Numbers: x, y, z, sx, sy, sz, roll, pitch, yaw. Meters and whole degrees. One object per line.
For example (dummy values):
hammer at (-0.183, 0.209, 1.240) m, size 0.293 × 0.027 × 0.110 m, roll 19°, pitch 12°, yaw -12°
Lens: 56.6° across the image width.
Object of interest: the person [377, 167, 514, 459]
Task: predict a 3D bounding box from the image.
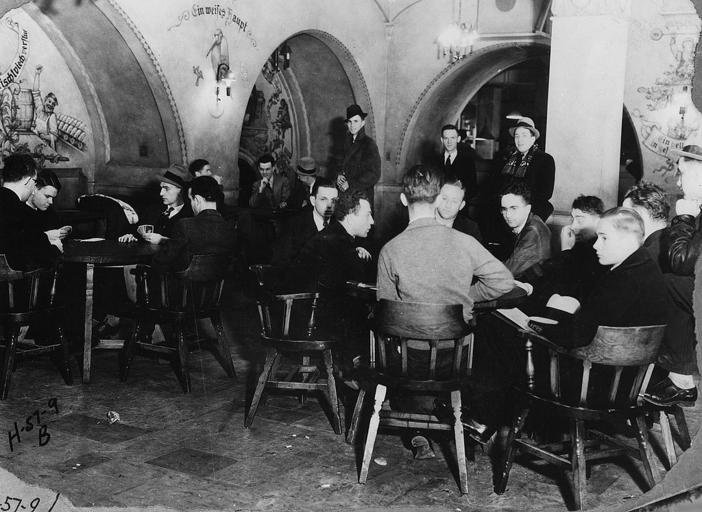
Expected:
person at (0.609, 0.286, 4.280) m, size 0.850 × 1.832 × 0.644 m, roll 2°, pitch 35°, yaw 18°

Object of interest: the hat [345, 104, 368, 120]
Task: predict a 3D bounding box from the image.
hat at (0.048, -1.701, 7.877) m, size 0.321 × 0.149 × 0.385 m, roll -4°, pitch 6°, yaw 1°

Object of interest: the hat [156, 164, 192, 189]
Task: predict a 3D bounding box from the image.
hat at (-1.712, -0.738, 6.371) m, size 0.257 × 0.118 × 0.303 m, roll 17°, pitch 9°, yaw 28°

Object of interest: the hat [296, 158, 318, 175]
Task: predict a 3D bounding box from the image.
hat at (-0.557, -1.094, 8.216) m, size 0.296 × 0.127 × 0.330 m, roll -2°, pitch 43°, yaw -5°

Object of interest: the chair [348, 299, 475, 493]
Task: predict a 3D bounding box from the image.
chair at (0.352, 0.776, 4.223) m, size 0.970 × 1.419 × 0.964 m, roll 3°, pitch 3°, yaw 5°

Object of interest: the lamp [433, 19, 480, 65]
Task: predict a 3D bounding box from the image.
lamp at (2.006, -4.092, 12.441) m, size 0.761 × 0.777 × 0.609 m, roll -1°, pitch 10°, yaw -8°

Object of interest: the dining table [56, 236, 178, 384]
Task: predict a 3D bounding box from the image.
dining table at (-2.091, 0.384, 5.736) m, size 1.140 × 1.286 × 0.974 m, roll 7°, pitch 8°, yaw 13°

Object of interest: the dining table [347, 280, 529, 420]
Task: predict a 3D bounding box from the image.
dining table at (0.491, 0.604, 4.212) m, size 0.842 × 1.245 × 0.893 m, roll 4°, pitch 13°, yaw 3°

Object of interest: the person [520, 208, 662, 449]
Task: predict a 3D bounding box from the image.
person at (1.455, 0.431, 3.936) m, size 0.742 × 1.354 × 0.688 m, roll 4°, pitch 3°, yaw 32°

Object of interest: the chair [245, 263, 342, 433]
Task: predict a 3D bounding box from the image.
chair at (-0.416, 0.621, 5.076) m, size 0.986 × 1.466 × 0.973 m, roll 1°, pitch 4°, yaw 5°

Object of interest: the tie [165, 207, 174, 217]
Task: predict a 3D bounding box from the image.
tie at (-1.761, -0.429, 6.369) m, size 0.074 × 0.100 × 0.036 m, roll 20°, pitch -3°, yaw 28°

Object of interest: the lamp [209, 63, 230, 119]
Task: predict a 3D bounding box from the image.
lamp at (-1.858, -2.424, 9.581) m, size 0.186 × 0.773 × 0.389 m, roll 8°, pitch 13°, yaw 33°

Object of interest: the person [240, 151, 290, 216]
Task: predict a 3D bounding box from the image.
person at (-1.247, -1.135, 9.951) m, size 0.595 × 0.801 × 1.582 m, roll 0°, pitch 11°, yaw -6°
